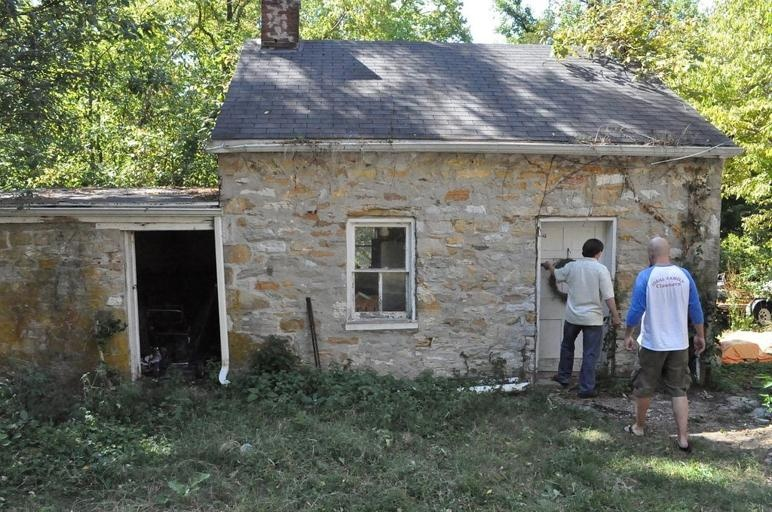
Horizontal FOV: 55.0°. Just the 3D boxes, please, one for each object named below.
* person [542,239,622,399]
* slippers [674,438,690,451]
[{"bbox_3d":[3.426,1.093,12.878,1.099,2.717,0.660,-1,-3,35],"label":"person"},{"bbox_3d":[4.536,2.915,11.303,0.225,0.164,0.126,1,-2,13],"label":"slippers"}]
